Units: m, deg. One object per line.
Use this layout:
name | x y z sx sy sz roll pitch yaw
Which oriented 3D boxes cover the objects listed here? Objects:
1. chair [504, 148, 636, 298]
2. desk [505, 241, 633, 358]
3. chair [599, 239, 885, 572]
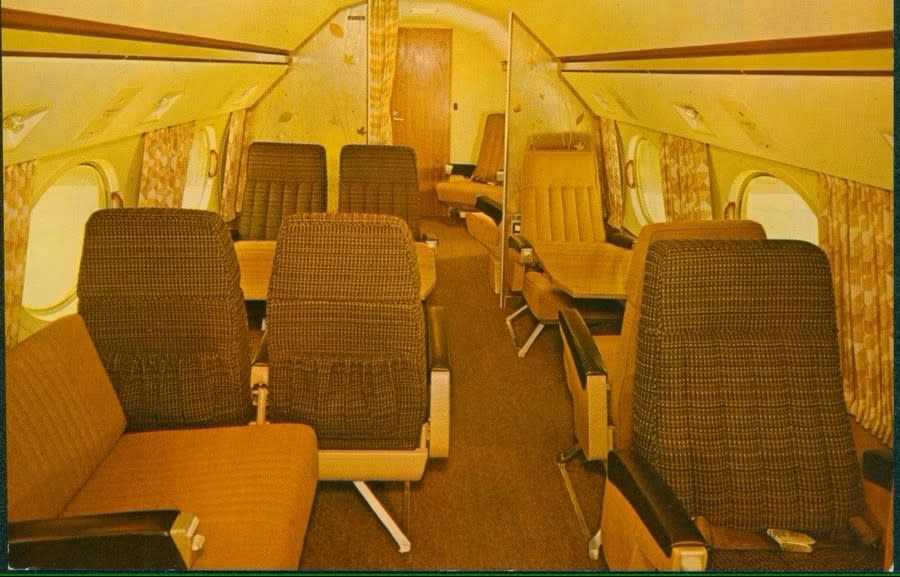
chair | 0.798 -0.466 4.248 0.692 0.726 1.064 -1 25 -5
desk | 0.765 0.062 4.331 0.663 0.471 0.799 1 17 -5
chair | 1.166 0.373 3.116 1.184 1.563 1.289 1 8 3
